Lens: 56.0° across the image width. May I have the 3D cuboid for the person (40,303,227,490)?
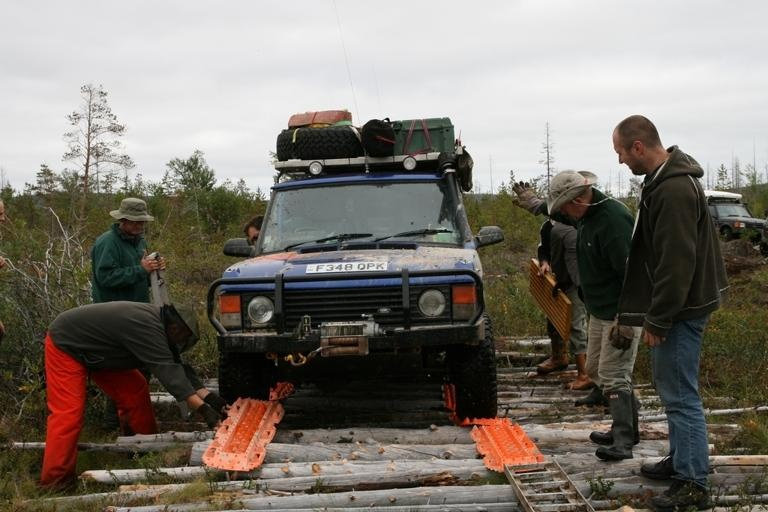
[{"bbox_3d":[-2.793,1.376,7.769,1.678,1.362,0.996,-4,3,-13],"label":"person"}]

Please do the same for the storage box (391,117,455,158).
[{"bbox_3d":[0.424,-1.481,9.416,0.844,0.602,0.565,-8,1,-14],"label":"storage box"}]

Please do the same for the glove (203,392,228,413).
[{"bbox_3d":[-1.791,1.557,7.713,0.263,0.161,0.111,31,-27,-7],"label":"glove"}]

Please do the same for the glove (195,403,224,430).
[{"bbox_3d":[-1.785,1.658,7.685,0.238,0.269,0.386,-3,4,19],"label":"glove"}]

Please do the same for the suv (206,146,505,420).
[{"bbox_3d":[-0.198,0.040,8.954,2.247,2.080,3.614,-3,-4,5],"label":"suv"}]

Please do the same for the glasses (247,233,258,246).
[{"bbox_3d":[-1.880,-0.242,10.352,0.131,0.076,0.176,4,25,-1],"label":"glasses"}]

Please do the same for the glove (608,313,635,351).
[{"bbox_3d":[2.330,0.781,7.090,0.121,0.279,0.281,2,-4,28],"label":"glove"}]

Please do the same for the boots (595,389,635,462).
[{"bbox_3d":[2.372,1.721,7.442,0.465,0.715,0.444,-11,-17,44],"label":"boots"}]

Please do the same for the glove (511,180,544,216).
[{"bbox_3d":[1.954,-0.831,9.620,0.380,0.231,0.713,13,-31,22],"label":"glove"}]

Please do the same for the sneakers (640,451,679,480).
[{"bbox_3d":[2.647,2.047,6.965,0.363,0.166,0.149,0,2,1],"label":"sneakers"}]

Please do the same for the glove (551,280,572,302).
[{"bbox_3d":[2.356,0.465,9.603,0.113,0.238,0.445,-20,-19,13],"label":"glove"}]

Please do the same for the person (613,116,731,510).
[{"bbox_3d":[2.689,0.472,6.693,0.885,3.590,0.735,-3,3,3],"label":"person"}]

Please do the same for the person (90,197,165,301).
[{"bbox_3d":[-3.114,-0.046,8.723,0.790,0.879,0.694,-6,4,-31],"label":"person"}]

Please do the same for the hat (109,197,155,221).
[{"bbox_3d":[-3.052,-0.540,8.759,0.371,0.200,0.362,-4,13,-17],"label":"hat"}]
